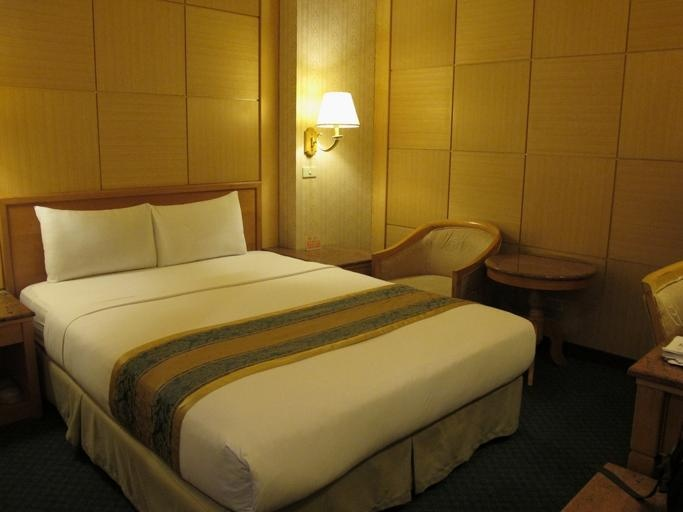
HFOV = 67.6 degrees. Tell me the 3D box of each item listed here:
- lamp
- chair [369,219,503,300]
[{"bbox_3d":[-0.072,-1.295,5.110,0.567,0.658,0.552,-6,18,-24],"label":"lamp"},{"bbox_3d":[0.933,-0.014,4.895,0.790,1.060,0.920,14,17,41],"label":"chair"}]
